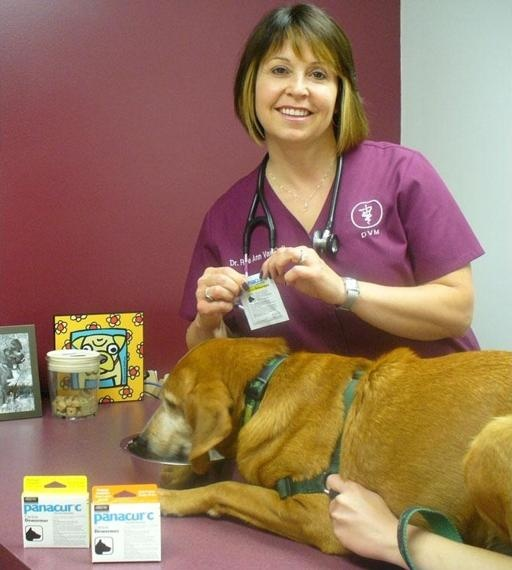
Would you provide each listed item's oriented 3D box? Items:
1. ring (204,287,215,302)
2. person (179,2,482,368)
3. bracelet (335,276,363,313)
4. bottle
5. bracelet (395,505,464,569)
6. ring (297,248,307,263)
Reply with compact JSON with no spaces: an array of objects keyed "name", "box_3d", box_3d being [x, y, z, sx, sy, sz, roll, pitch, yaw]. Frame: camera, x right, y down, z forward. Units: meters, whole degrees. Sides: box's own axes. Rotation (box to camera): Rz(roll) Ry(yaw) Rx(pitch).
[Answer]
[{"name":"ring","box_3d":[-0.111,0.022,1.315,0.021,0.023,0.032,-6,3,9]},{"name":"person","box_3d":[0.184,-0.252,1.412,0.824,0.908,0.528,-2,4,3]},{"name":"bracelet","box_3d":[0.206,0.019,1.281,0.047,0.066,0.065,17,-40,-3]},{"name":"bottle","box_3d":[-0.548,0.310,1.852,0.212,0.195,0.198,2,4,10]},{"name":"bracelet","box_3d":[0.244,0.343,0.782,0.087,0.076,0.094,-1,4,18]},{"name":"ring","box_3d":[0.099,-0.061,1.190,0.021,0.023,0.023,-3,8,0]}]
